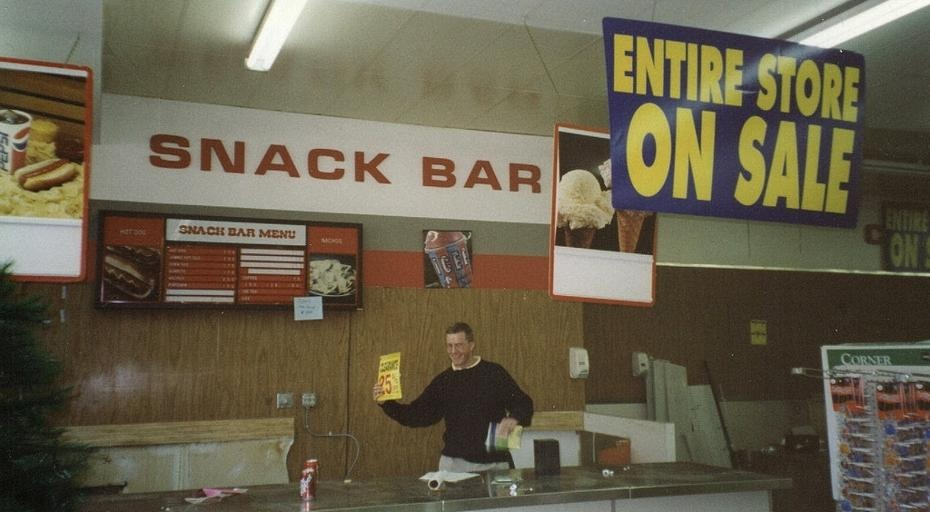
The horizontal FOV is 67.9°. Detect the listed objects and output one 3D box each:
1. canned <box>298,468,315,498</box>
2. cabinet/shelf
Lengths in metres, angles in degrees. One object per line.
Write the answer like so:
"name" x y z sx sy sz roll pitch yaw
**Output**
"canned" -0.941 1.364 4.152 0.080 0.179 0.045 0 -10 -1
"cabinet/shelf" -1.848 1.310 4.579 1.374 0.463 0.206 3 -10 -16
